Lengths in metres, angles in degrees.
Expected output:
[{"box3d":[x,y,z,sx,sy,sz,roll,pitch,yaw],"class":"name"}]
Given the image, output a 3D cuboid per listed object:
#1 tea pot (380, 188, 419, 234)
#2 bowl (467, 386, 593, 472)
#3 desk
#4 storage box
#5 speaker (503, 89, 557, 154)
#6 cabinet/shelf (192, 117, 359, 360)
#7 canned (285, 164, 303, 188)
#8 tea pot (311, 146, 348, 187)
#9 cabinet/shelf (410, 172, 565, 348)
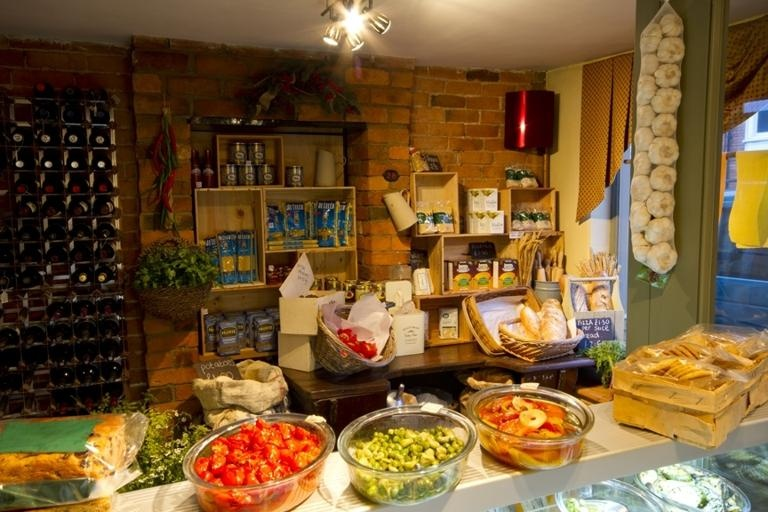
[{"box3d":[0.126,-0.370,4.283,0.258,0.322,0.097,-4,6,7],"class":"tea pot"},{"box3d":[0.537,0.624,1.935,0.440,0.222,0.243,-3,6,12],"class":"bowl"},{"box3d":[0.270,0.724,2.823,1.038,0.669,0.321,-3,5,-24],"class":"desk"},{"box3d":[-0.507,0.524,3.603,0.483,0.502,0.295,-6,15,-29],"class":"storage box"},{"box3d":[1.286,-1.182,4.646,0.530,0.556,0.517,6,10,17],"class":"speaker"},{"box3d":[-0.892,-0.127,4.076,2.149,1.807,0.524,-2,5,-21],"class":"cabinet/shelf"},{"box3d":[-0.697,-0.651,4.192,0.160,0.156,0.154,-1,3,0],"class":"canned"},{"box3d":[-0.451,-0.714,4.406,0.325,0.304,0.199,0,-5,-21],"class":"tea pot"},{"box3d":[0.881,-0.044,4.610,1.442,1.428,0.346,-3,12,-24],"class":"cabinet/shelf"}]
